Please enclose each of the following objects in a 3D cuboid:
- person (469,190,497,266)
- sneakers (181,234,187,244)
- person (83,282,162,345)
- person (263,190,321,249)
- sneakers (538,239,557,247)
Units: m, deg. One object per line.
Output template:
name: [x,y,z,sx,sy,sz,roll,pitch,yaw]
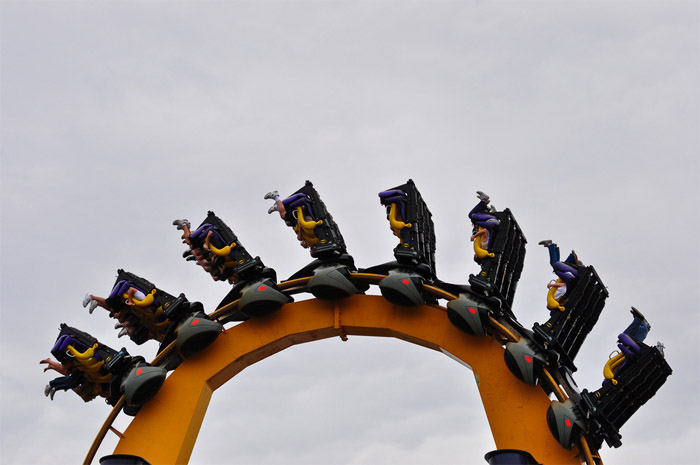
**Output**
person: [3.701,-0.150,25.056,0.798,1.740,1.179,1,-48,2]
sneakers: [-3.926,0.141,21.397,0.157,0.194,0.462,-1,-16,-7]
person: [-6.435,2.340,26.405,2.173,1.116,1.472,10,-48,-6]
person: [-1.278,-0.438,24.699,1.489,0.727,1.143,35,-44,29]
sneakers: [3.965,0.224,18.075,0.320,0.122,0.090,5,-32,3]
